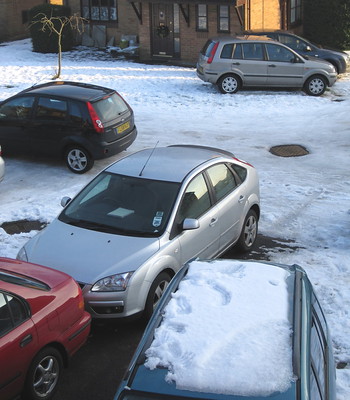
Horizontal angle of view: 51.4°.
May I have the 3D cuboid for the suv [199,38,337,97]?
[{"bbox_3d":[4.029,-5.805,15.863,5.382,1.925,2.515,-1,21,1],"label":"suv"}]
